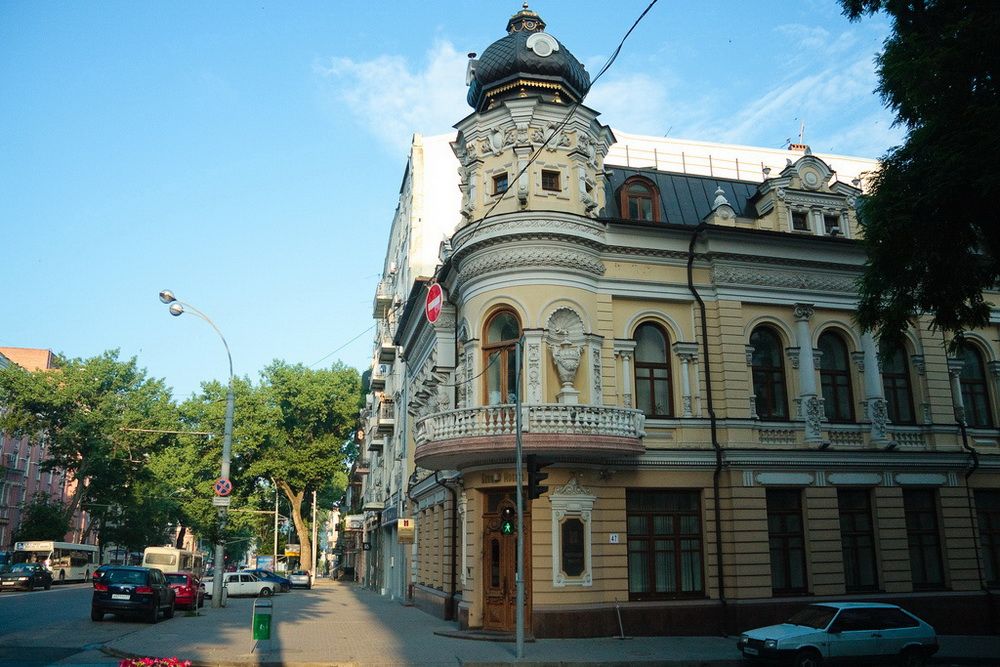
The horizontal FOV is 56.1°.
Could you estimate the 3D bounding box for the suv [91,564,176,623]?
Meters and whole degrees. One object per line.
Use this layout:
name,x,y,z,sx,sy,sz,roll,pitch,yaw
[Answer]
suv,-14.823,10.572,38.372,1.742,1.554,4.011,1,-7,-7

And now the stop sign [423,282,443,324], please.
stop sign,-2.828,-1.343,38.949,0.110,1.734,1.669,5,9,-17
